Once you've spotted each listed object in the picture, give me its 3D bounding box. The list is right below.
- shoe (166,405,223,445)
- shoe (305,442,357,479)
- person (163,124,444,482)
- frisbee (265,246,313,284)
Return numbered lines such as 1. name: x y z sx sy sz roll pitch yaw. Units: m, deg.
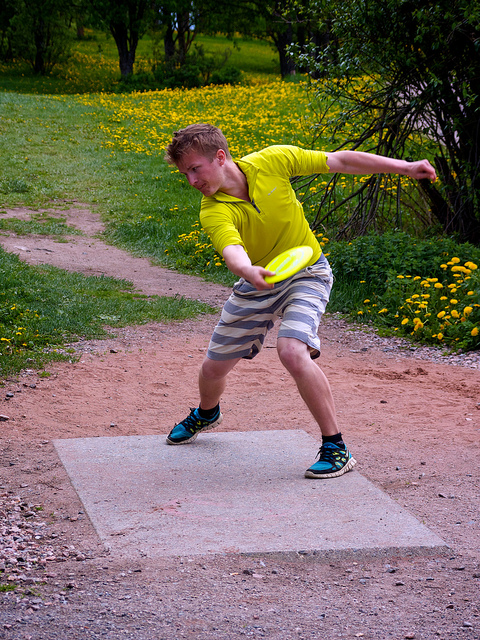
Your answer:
1. shoe: -0.259 0.608 4.884 0.371 0.211 0.106 -5 18 -35
2. shoe: 0.472 0.720 4.279 0.316 0.125 0.122 -10 10 -44
3. person: 0.111 -0.065 4.292 1.087 1.793 1.085 13 17 29
4. frisbee: 0.243 -0.262 4.065 0.159 0.023 0.261 -14 18 17
